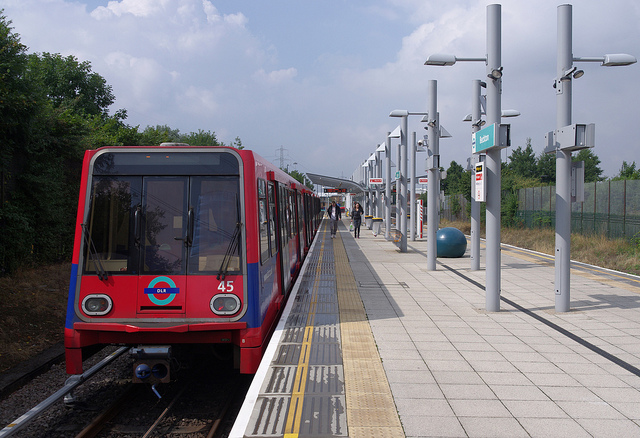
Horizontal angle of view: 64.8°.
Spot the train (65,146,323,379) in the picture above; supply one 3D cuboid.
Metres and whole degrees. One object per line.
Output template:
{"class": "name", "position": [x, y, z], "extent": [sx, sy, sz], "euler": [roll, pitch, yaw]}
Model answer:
{"class": "train", "position": [-2.301, 0.719, 13.265], "extent": [2.240, 3.328, 10.701], "euler": [0, -1, 1]}
